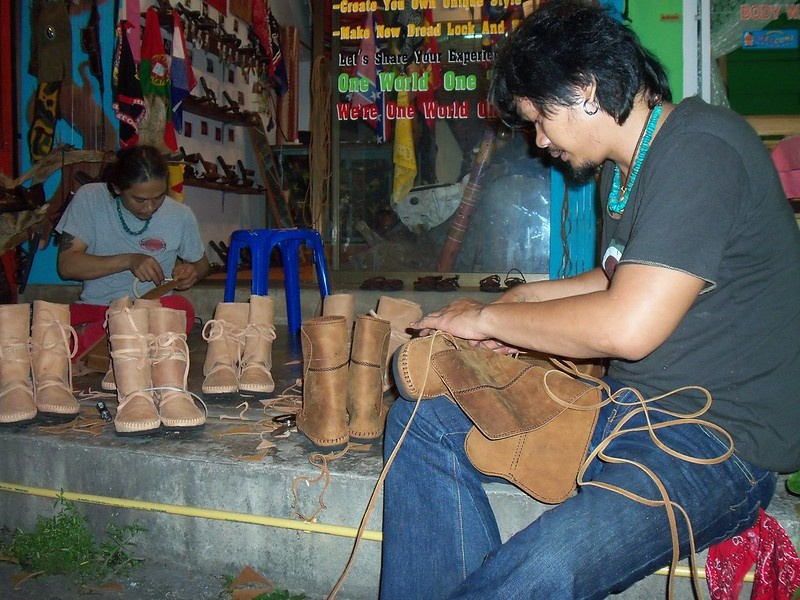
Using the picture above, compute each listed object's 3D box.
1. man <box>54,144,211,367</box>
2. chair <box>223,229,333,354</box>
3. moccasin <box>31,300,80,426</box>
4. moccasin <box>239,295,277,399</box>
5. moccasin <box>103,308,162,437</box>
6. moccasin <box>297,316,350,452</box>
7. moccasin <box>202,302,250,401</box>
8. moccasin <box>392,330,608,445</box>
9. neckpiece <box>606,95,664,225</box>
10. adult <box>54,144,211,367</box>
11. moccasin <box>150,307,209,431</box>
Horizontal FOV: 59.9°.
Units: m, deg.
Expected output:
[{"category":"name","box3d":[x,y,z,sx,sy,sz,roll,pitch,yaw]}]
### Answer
[{"category":"man","box3d":[-1.279,-0.250,3.265,0.598,0.972,0.831,24,25,29]},{"category":"chair","box3d":[-0.746,-0.047,3.983,0.643,0.680,0.631,-2,1,-41]},{"category":"moccasin","box3d":[-1.216,0.205,2.461,0.145,0.333,0.445,0,13,-31]},{"category":"moccasin","box3d":[-0.554,0.180,2.720,0.131,0.314,0.416,3,18,-11]},{"category":"moccasin","box3d":[-0.880,0.238,2.348,0.152,0.371,0.479,0,17,-25]},{"category":"moccasin","box3d":[-0.254,0.241,2.284,0.179,0.414,0.411,-3,11,-15]},{"category":"moccasin","box3d":[-0.663,0.183,2.652,0.175,0.329,0.218,-1,6,-12]},{"category":"moccasin","box3d":[0.233,0.217,1.728,0.397,0.130,0.289,12,49,12]},{"category":"neckpiece","box3d":[0.583,-0.376,1.765,0.047,0.208,0.154,18,-2,-7]},{"category":"adult","box3d":[-1.285,-0.253,3.272,0.563,0.957,0.843,22,23,25]},{"category":"moccasin","box3d":[-0.778,0.236,2.378,0.149,0.358,0.461,0,15,-21]}]
